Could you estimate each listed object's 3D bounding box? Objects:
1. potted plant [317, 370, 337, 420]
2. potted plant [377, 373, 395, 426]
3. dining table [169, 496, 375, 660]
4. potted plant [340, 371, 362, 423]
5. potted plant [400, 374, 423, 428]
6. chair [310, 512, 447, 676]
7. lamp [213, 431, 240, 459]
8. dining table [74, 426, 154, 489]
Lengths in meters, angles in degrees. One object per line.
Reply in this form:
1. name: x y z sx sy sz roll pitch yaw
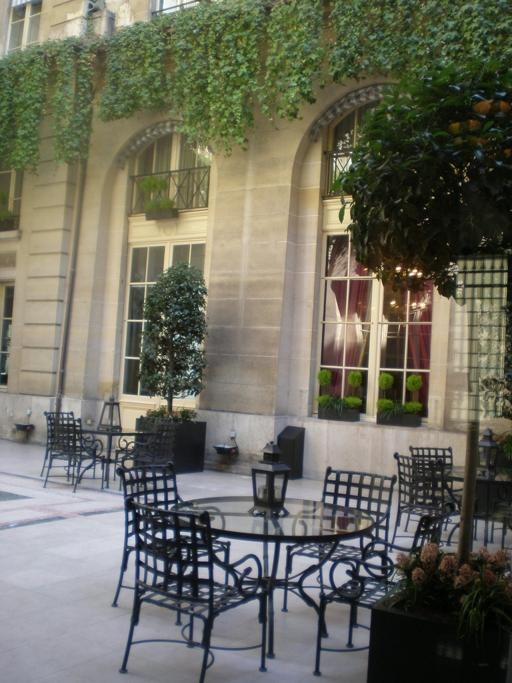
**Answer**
1. potted plant: 1.094 0.815 11.075 0.304 0.781 0.411 3 -7 5
2. potted plant: 1.906 0.846 10.521 0.241 0.750 0.489 3 -7 10
3. dining table: 0.092 1.254 4.242 1.059 0.616 1.015 0 1 9
4. potted plant: 1.468 0.834 10.869 0.298 0.769 0.435 3 -7 9
5. potted plant: 2.299 0.847 10.360 0.427 0.781 0.406 5 -4 -10
6. chair: 0.602 1.329 3.708 0.370 0.557 0.856 1 -7 19
7. lamp: -0.425 1.628 11.127 0.408 0.497 0.427 -4 -9 40
8. dining table: -1.916 1.577 9.792 0.991 0.692 0.912 7 -5 -26
